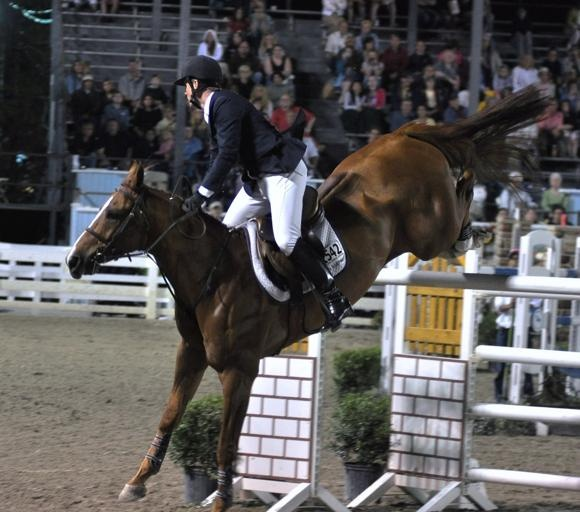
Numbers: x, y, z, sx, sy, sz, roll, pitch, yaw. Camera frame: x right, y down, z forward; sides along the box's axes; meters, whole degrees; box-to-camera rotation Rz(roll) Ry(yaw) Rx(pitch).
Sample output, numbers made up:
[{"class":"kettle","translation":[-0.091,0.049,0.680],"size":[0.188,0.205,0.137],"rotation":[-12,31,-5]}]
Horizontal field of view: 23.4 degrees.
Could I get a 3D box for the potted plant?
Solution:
[{"class":"potted plant","translation":[0.587,1.552,11.391],"size":[0.495,0.780,0.443],"rotation":[0,4,16]}]
